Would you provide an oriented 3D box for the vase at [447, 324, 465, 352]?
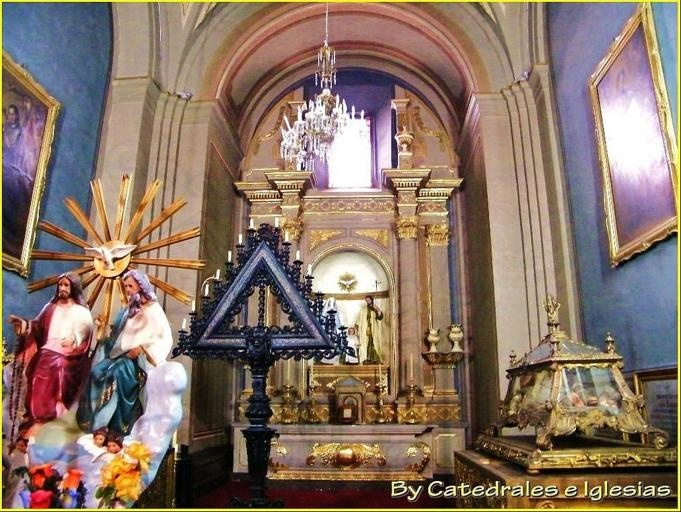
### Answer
[{"bbox_3d":[1.807,1.286,8.815,0.249,0.414,0.254,-2,-15,7],"label":"vase"}]

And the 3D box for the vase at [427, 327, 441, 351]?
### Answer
[{"bbox_3d":[1.447,1.304,8.822,0.210,0.377,0.246,-3,-15,8],"label":"vase"}]
